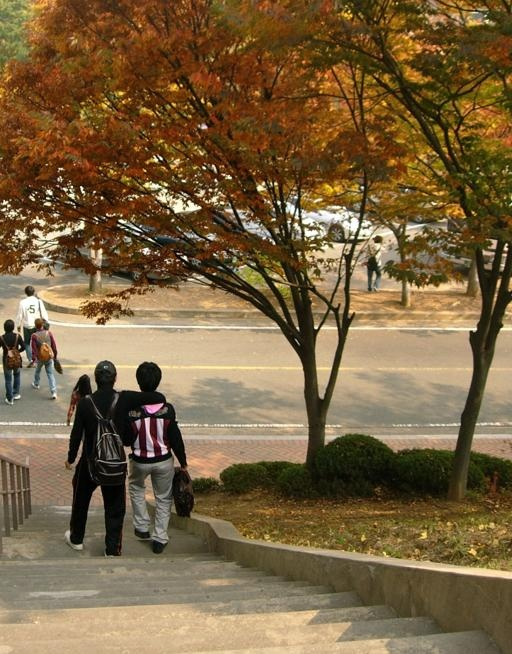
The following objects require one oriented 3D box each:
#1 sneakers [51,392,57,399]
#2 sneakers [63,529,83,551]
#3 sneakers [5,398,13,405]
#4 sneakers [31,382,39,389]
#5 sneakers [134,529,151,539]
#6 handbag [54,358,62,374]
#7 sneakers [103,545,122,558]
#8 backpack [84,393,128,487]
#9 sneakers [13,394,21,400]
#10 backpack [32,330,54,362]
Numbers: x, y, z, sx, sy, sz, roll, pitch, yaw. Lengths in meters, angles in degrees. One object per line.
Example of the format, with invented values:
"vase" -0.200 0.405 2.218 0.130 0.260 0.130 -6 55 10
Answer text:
"sneakers" -4.413 1.496 13.403 0.094 0.098 0.249 2 -27 -13
"sneakers" -1.738 1.989 5.815 0.107 0.098 0.269 3 13 -31
"sneakers" -5.250 1.564 13.005 0.226 0.081 0.098 12 8 43
"sneakers" -5.044 1.348 13.996 0.113 0.102 0.273 -2 18 -27
"sneakers" -1.188 2.112 6.359 0.092 0.080 0.237 -2 8 -29
"handbag" -4.427 0.880 13.656 0.082 0.161 0.503 -17 14 -19
"sneakers" -1.276 1.969 5.425 0.104 0.121 0.142 5 10 2
"backpack" -1.263 0.964 5.185 0.311 0.770 0.237 0 6 -14
"sneakers" -5.182 1.495 13.240 0.185 0.101 0.290 -3 -1 -19
"backpack" -4.469 0.404 12.924 0.402 0.681 0.703 -1 6 -27
